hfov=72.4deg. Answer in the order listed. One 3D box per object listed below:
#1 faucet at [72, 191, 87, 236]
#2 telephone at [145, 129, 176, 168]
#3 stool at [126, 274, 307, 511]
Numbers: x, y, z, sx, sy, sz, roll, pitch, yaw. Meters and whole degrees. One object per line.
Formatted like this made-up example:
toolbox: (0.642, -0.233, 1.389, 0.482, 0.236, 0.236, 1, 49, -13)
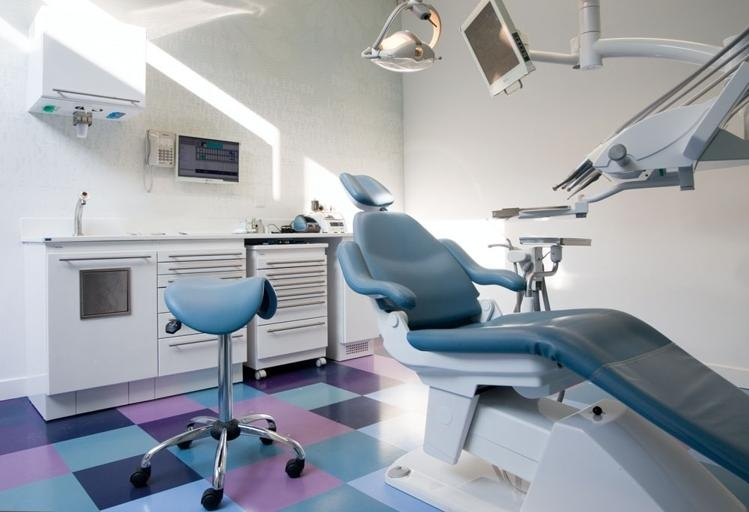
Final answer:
faucet: (-2.212, -0.324, 3.840, 0.130, 0.318, 0.241, -6, 12, -28)
telephone: (-1.757, -0.886, 4.192, 0.247, 0.284, 0.114, -5, 12, -21)
stool: (-0.859, 0.683, 2.793, 0.881, 1.120, 0.740, 5, 12, 29)
